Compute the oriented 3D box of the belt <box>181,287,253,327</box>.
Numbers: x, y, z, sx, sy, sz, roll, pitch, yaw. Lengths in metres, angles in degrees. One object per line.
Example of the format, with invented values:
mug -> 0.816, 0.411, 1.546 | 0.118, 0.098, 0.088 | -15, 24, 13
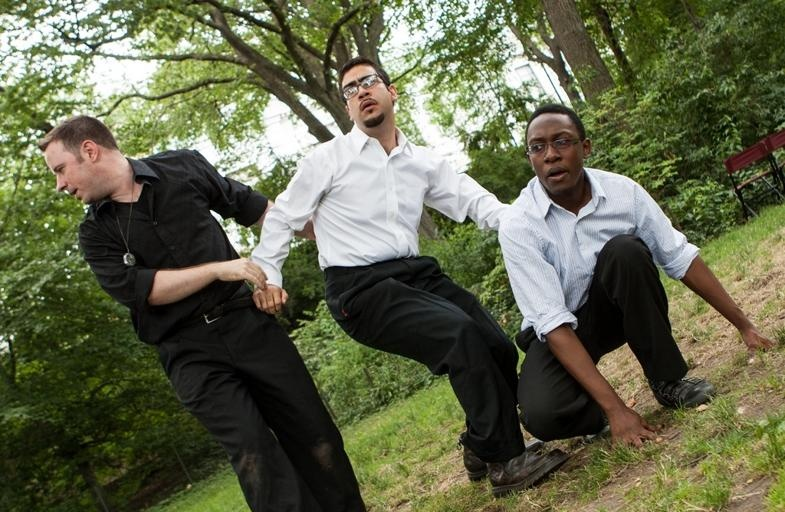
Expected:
belt -> -1.427, 0.413, 4.517 | 0.439, 0.178, 0.317 | -24, 6, 6
